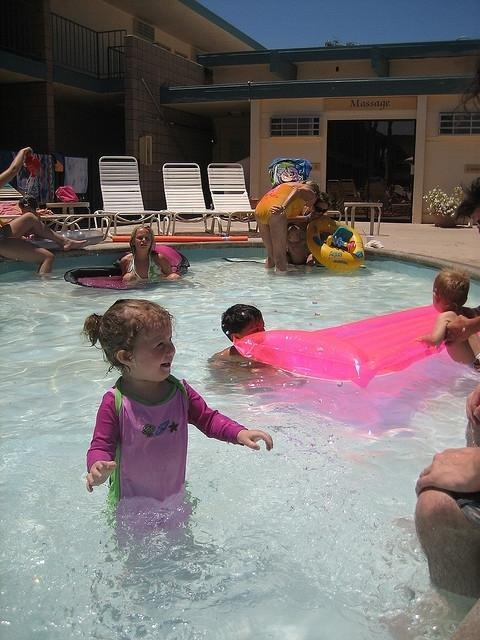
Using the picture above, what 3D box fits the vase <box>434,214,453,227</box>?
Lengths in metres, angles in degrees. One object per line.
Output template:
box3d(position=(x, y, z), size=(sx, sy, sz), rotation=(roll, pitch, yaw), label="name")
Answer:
box3d(position=(4.870, -2.338, 12.633), size=(0.456, 0.299, 0.788), rotation=(3, 12, 19), label="vase")

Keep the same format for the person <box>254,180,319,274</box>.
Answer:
box3d(position=(0.652, -1.249, 7.187), size=(0.798, 1.185, 0.593), rotation=(-5, 14, -16), label="person")

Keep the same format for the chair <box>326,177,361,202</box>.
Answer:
box3d(position=(2.853, -3.623, 14.850), size=(0.747, 0.676, 2.111), rotation=(3, 12, 17), label="chair")

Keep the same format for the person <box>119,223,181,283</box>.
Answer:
box3d(position=(-1.020, -0.753, 6.127), size=(0.671, 0.651, 0.842), rotation=(-4, 13, -11), label="person")

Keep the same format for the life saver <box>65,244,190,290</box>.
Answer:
box3d(position=(-1.434, -0.599, 6.713), size=(1.279, 0.404, 0.727), rotation=(-12, 27, -28), label="life saver")
